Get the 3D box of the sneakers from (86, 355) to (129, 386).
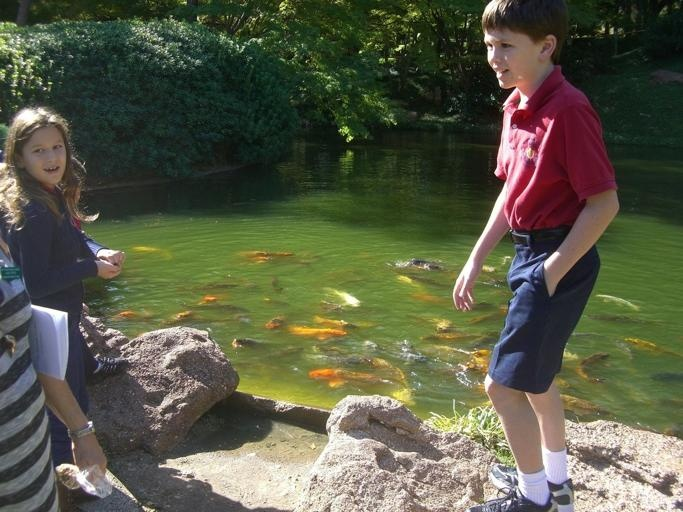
[{"bbox_3d":[-1.612,0.801,4.192,0.285,0.189,0.089,-14,55,-18],"label":"sneakers"}]
